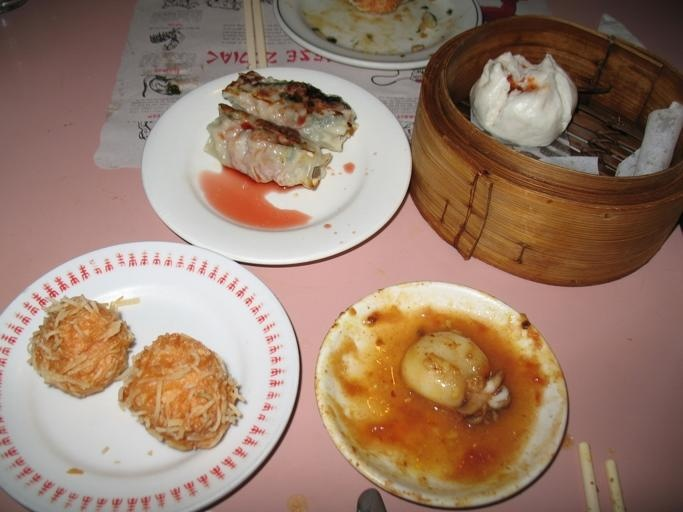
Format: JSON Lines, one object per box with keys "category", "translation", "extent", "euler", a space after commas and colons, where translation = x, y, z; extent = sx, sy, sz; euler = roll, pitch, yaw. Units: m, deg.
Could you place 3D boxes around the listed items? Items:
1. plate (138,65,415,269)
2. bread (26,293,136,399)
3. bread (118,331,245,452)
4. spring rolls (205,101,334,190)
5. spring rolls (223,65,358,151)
{"category": "plate", "translation": [-0.279, -0.432, 2.492], "extent": [1.158, 0.212, 1.064], "euler": [3, 68, 2]}
{"category": "bread", "translation": [-0.910, 0.314, 1.986], "extent": [0.299, 0.123, 0.364], "euler": [-6, 70, -15]}
{"category": "bread", "translation": [-0.562, 0.444, 2.077], "extent": [0.471, 0.349, 0.453], "euler": [-11, 38, -24]}
{"category": "spring rolls", "translation": [-0.339, -0.495, 2.632], "extent": [0.608, 0.217, 0.391], "euler": [26, 40, 13]}
{"category": "spring rolls", "translation": [-0.247, -0.659, 2.786], "extent": [0.634, 0.212, 0.337], "euler": [24, 66, 9]}
